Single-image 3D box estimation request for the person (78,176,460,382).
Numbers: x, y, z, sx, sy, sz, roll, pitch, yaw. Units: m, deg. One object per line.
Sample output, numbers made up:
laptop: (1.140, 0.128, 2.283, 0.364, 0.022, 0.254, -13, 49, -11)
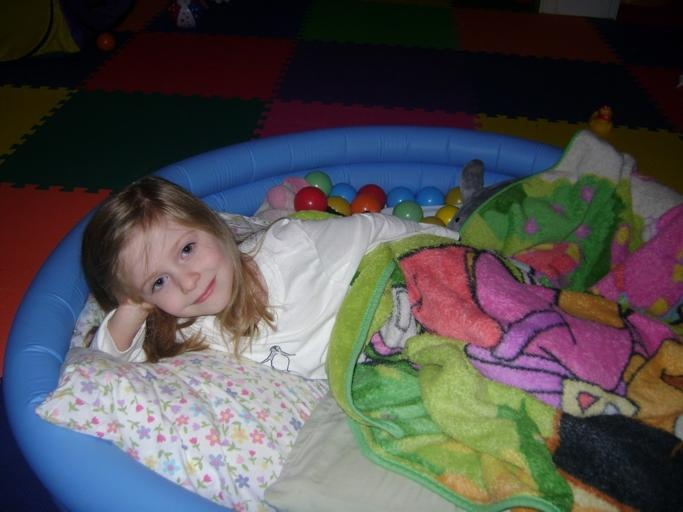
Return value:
person: (-0.361, 0.074, 2.032, 1.047, 0.474, 0.693, 6, 15, 18)
